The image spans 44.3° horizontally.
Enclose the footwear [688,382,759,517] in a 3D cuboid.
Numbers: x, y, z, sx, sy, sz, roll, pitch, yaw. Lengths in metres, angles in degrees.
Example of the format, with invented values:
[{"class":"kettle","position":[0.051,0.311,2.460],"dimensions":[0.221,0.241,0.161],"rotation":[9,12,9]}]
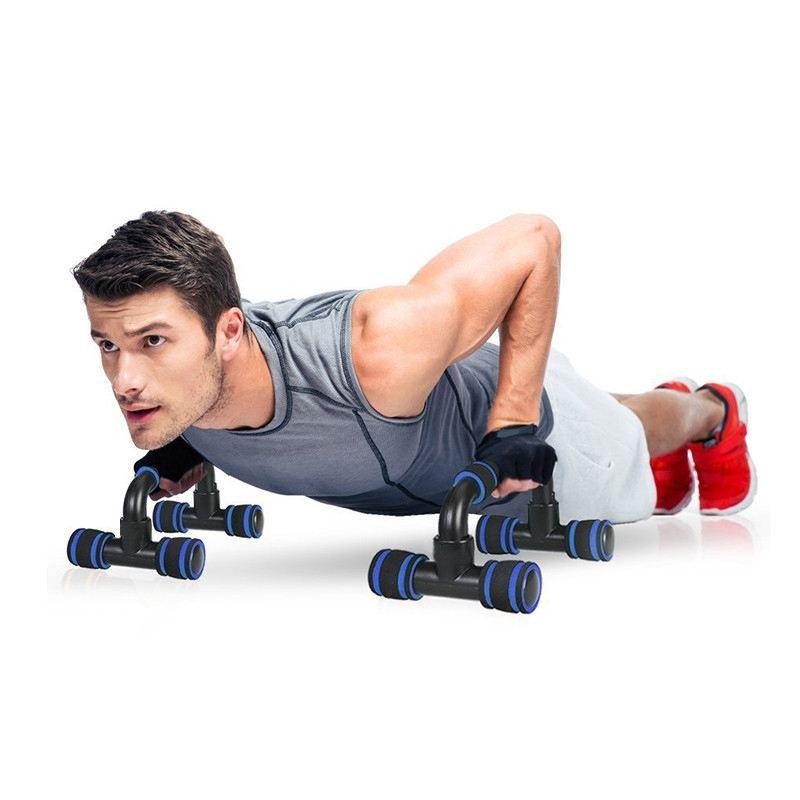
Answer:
[{"class":"footwear","position":[1.311,0.230,4.031],"dimensions":[0.265,0.547,0.308],"rotation":[-8,2,35]}]

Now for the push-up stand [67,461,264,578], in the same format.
[{"class":"push-up stand","position":[-0.778,0.366,3.362],"dimensions":[0.471,0.275,0.537],"rotation":[4,10,20]}]

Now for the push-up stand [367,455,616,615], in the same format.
[{"class":"push-up stand","position":[0.293,0.386,2.969],"dimensions":[0.462,0.271,0.710],"rotation":[-2,3,29]}]
